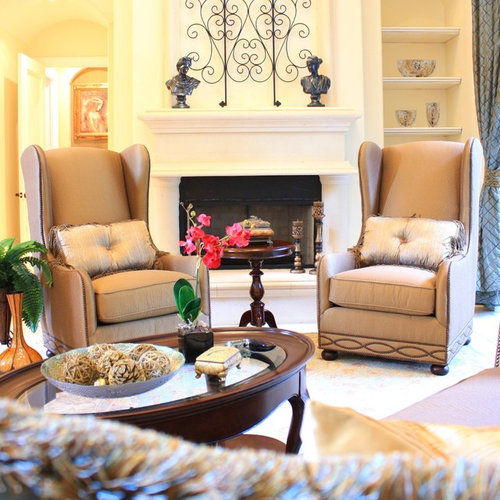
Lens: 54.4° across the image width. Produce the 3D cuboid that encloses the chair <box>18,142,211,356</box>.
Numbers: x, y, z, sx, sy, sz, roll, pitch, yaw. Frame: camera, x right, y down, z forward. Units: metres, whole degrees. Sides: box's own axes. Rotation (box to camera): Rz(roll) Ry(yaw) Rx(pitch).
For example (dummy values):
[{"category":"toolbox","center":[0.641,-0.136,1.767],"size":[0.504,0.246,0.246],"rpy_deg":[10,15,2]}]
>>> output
[{"category":"chair","center":[-0.770,0.038,2.791],"size":[1.036,1.192,1.025],"rpy_deg":[6,12,18]}]

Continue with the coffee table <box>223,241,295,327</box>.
[{"category":"coffee table","center":[0.045,0.268,3.081],"size":[0.435,0.576,0.468],"rpy_deg":[0,4,16]}]

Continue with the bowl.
[{"category":"bowl","center":[-0.358,0.323,1.309],"size":[0.332,0.143,0.331],"rpy_deg":[6,-11,1]}]

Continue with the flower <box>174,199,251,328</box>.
[{"category":"flower","center":[-0.148,0.013,1.736],"size":[0.233,0.274,0.231],"rpy_deg":[10,24,-2]}]

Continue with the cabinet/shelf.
[{"category":"cabinet/shelf","center":[1.533,-1.823,4.568],"size":[0.749,1.351,0.403],"rpy_deg":[2,-4,6]}]
